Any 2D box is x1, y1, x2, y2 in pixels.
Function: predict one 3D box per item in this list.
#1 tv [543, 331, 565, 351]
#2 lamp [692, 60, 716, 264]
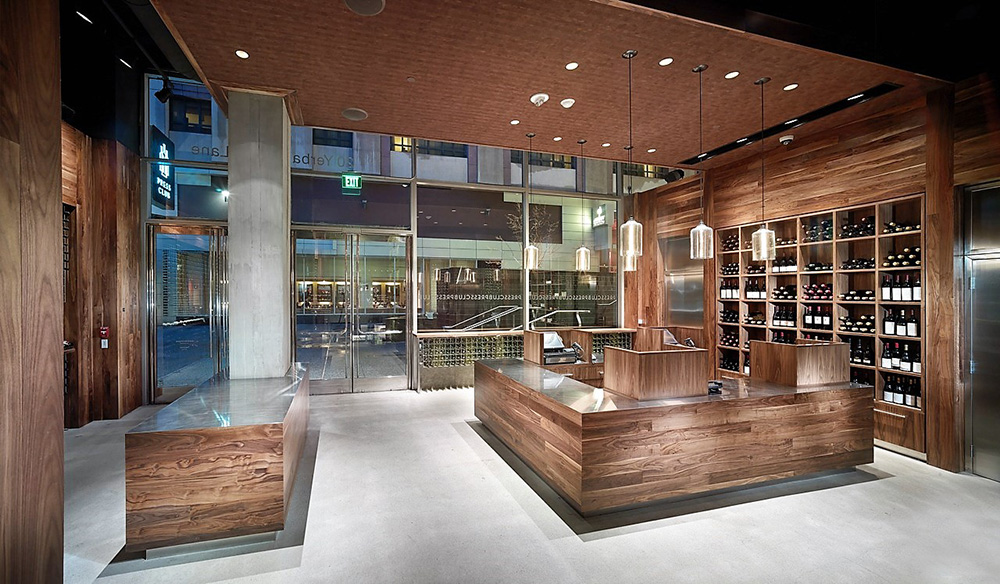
[{"bbox_3d":[0.849,0.765,9.118,0.303,0.289,0.211,-1,-1,-3],"label":"tv"},{"bbox_3d":[2.466,-1.541,7.121,0.382,2.354,0.354,1,12,21],"label":"lamp"}]
